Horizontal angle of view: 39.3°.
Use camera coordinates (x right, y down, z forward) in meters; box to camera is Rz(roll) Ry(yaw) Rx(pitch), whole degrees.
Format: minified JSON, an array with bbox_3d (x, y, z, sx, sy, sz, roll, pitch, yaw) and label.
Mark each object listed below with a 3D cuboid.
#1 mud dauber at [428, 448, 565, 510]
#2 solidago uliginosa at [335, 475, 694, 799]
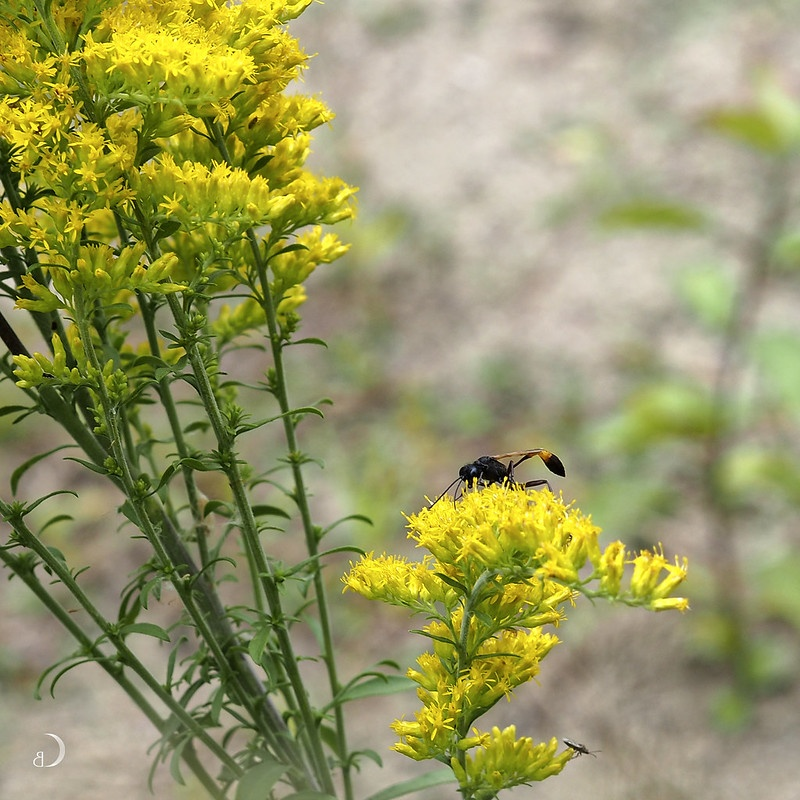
[{"bbox_3d":[0.163,0.104,1.660,0.213,0.048,0.143,-9,-3,-16],"label":"mud dauber"},{"bbox_3d":[0.122,0.291,1.385,0.275,0.348,0.405,5,-39,-31],"label":"solidago uliginosa"}]
